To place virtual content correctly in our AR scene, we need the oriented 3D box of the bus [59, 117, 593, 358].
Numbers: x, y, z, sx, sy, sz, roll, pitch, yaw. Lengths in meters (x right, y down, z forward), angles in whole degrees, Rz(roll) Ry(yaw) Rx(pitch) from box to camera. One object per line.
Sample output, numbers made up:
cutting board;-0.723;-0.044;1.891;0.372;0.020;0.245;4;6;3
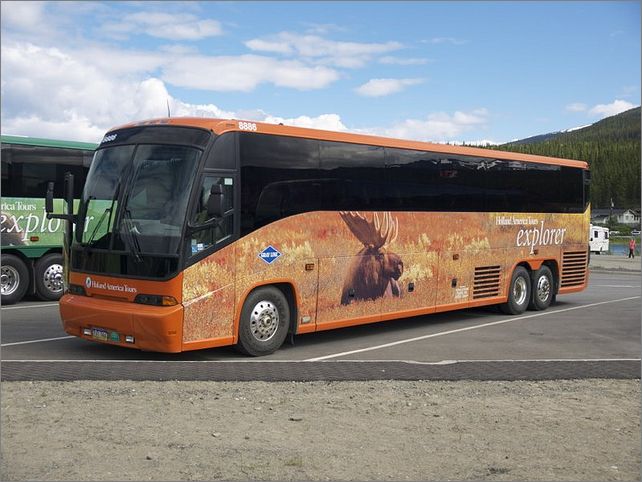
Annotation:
bus;1.985;-0.018;14.385;15.931;4.232;4.402;-1;2;-40
